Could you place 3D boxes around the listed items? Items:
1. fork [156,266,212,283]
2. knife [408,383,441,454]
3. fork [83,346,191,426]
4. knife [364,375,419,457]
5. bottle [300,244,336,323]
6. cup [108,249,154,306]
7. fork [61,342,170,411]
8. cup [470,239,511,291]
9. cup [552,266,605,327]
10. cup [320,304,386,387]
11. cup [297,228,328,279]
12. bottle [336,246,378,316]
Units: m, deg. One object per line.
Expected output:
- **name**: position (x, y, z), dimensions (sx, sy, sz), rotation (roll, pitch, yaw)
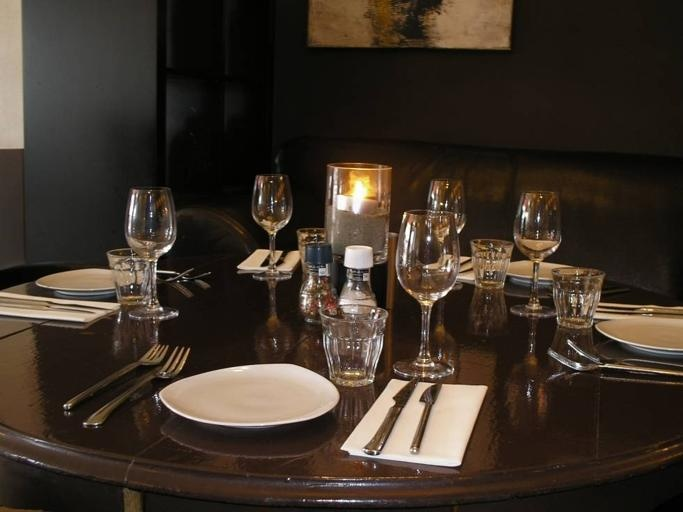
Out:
- **fork**: position (-0.449, 0.055, 1.646), dimensions (0.157, 0.054, 0.024), rotation (0, -25, 0)
- **knife**: position (0.116, 0.239, 0.885), dimensions (0.024, 0.012, 0.171), rotation (3, 15, 13)
- **fork**: position (-0.333, 0.198, 0.975), dimensions (0.037, 0.033, 0.227), rotation (-3, 19, 20)
- **knife**: position (0.066, 0.231, 0.865), dimensions (0.032, 0.010, 0.186), rotation (-2, 16, 21)
- **bottle**: position (-0.050, 0.059, 1.268), dimensions (0.083, 0.165, 0.076), rotation (0, 6, 0)
- **cup**: position (-0.500, 0.047, 1.399), dimensions (0.109, 0.123, 0.108), rotation (-4, 0, 0)
- **fork**: position (-0.370, 0.196, 1.002), dimensions (0.039, 0.030, 0.246), rotation (0, 17, 21)
- **cup**: position (0.405, 0.020, 1.602), dimensions (0.124, 0.141, 0.128), rotation (0, 4, 0)
- **cup**: position (0.524, 0.087, 1.306), dimensions (0.118, 0.133, 0.116), rotation (-2, 11, 0)
- **cup**: position (0.020, 0.152, 1.070), dimensions (0.129, 0.138, 0.125), rotation (1, 6, 0)
- **cup**: position (-0.092, -0.011, 1.633), dimensions (0.113, 0.134, 0.112), rotation (1, 7, 0)
- **bottle**: position (0.032, 0.067, 1.173), dimensions (0.078, 0.177, 0.079), rotation (2, 13, 0)
